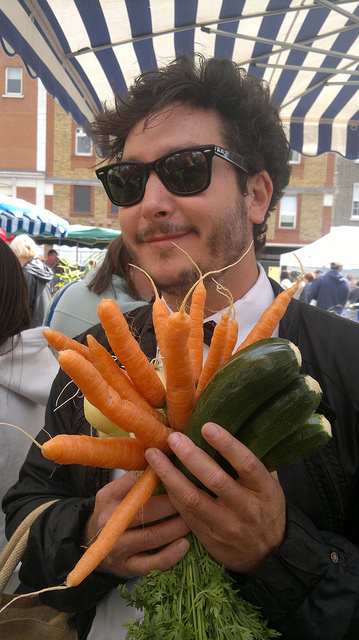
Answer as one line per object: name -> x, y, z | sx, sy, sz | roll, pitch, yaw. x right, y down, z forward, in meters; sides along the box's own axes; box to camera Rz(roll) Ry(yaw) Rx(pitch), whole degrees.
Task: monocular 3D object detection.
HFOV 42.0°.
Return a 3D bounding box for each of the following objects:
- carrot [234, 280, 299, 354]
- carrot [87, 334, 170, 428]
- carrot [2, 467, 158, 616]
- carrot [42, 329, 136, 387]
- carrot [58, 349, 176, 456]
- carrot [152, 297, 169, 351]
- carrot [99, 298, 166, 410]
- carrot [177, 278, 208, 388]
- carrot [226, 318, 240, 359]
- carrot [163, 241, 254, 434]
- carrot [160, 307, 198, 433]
carrot -> 0.261, -0.008, 1.452 | 0.046, 0.265, 0.043 | 31, 5, -34
carrot -> -0.123, 0.153, 1.120 | 0.051, 0.308, 0.058 | -45, 13, -34
carrot -> -0.272, 0.623, 1.295 | 0.091, 0.641, 0.088 | 34, -7, -26
carrot -> -0.212, 0.054, 1.132 | 0.182, 0.153, 0.214 | -5, 5, -32
carrot -> -0.143, 0.200, 1.131 | 0.415, 0.089, 0.085 | 41, -8, -17
carrot -> -0.055, 0.000, 1.289 | 0.040, 0.163, 0.043 | -22, -44, 29
carrot -> -0.124, 0.096, 1.246 | 0.067, 0.302, 0.076 | -19, 7, 39
carrot -> 0.034, 0.040, 1.291 | 0.064, 0.331, 0.081 | 2, 11, 7
carrot -> 0.137, 0.044, 1.233 | 0.027, 0.118, 0.031 | 8, -4, 9
carrot -> 0.045, 0.065, 1.066 | 0.147, 0.412, 0.073 | 2, 21, -20
carrot -> -0.003, 0.123, 1.088 | 0.079, 0.327, 0.072 | -2, 29, -6
